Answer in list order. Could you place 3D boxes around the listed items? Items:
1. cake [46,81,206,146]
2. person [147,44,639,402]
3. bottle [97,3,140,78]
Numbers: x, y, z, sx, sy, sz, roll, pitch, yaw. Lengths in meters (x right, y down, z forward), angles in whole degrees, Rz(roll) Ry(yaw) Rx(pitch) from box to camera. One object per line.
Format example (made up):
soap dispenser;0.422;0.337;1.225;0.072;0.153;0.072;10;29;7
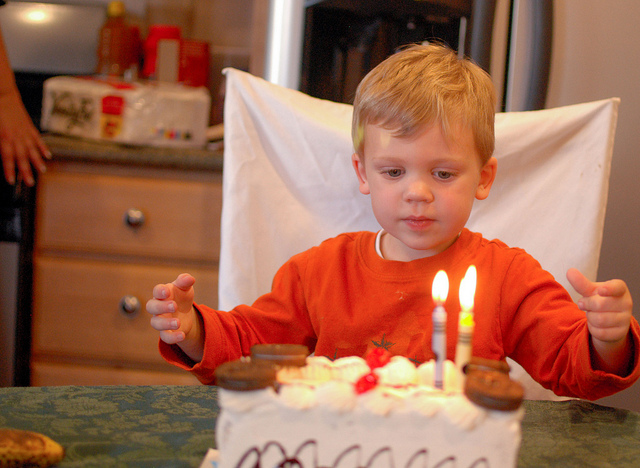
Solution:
cake;-0.546;-0.353;1.911;0.281;0.106;0.225;14;15;7
person;0.150;-0.032;1.215;0.794;0.639;0.522;1;10;15
bottle;-0.657;-0.627;2.140;0.139;0.243;0.206;-5;10;-18
